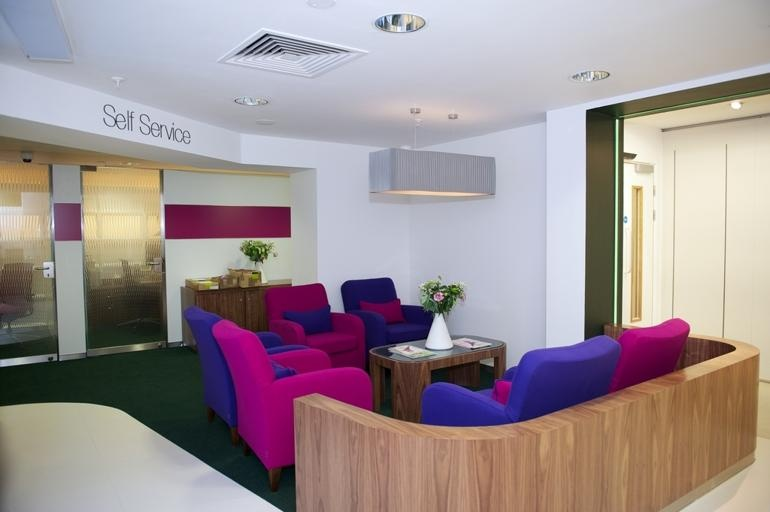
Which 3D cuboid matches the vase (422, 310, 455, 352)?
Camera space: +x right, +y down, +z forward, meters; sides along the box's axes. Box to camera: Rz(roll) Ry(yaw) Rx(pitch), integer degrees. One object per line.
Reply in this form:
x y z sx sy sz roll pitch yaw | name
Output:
0.656 0.929 6.650 0.418 0.410 0.399 0 3 7 | vase

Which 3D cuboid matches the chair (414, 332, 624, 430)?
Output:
1.100 0.918 4.545 1.029 1.144 1.094 -2 1 -26 | chair

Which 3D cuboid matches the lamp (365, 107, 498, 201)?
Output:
0.637 -1.286 6.534 1.399 0.922 0.702 1 11 -14 | lamp

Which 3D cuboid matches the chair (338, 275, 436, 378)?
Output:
0.025 1.021 8.241 1.212 1.226 1.206 0 3 -31 | chair

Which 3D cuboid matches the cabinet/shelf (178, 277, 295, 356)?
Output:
-2.288 0.940 8.862 1.587 0.878 0.514 -3 2 -14 | cabinet/shelf

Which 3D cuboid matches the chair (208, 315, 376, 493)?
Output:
-0.942 1.393 5.668 1.612 1.637 1.437 -2 2 -36 | chair

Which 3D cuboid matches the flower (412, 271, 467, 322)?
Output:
0.641 0.563 6.656 0.456 0.428 0.463 -3 1 40 | flower

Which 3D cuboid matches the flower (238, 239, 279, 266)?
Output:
-2.156 -0.100 9.255 0.492 0.408 0.481 -2 4 -24 | flower

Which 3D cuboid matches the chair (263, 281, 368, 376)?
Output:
-1.010 1.058 7.719 1.322 1.180 1.377 -3 4 -15 | chair

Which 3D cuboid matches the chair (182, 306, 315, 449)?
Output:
-1.475 1.210 6.087 1.327 1.339 1.026 -4 1 -40 | chair
